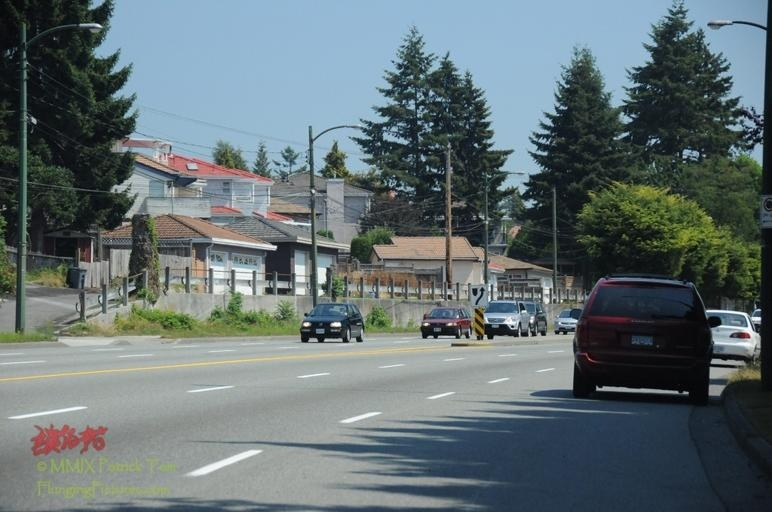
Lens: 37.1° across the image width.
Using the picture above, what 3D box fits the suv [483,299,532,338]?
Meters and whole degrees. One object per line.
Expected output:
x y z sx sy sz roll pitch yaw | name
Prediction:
6.378 3.239 60.437 1.502 1.293 2.974 -2 -8 13 | suv

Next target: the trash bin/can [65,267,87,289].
-15.201 0.992 56.156 0.979 1.367 1.010 -3 5 -37 | trash bin/can
